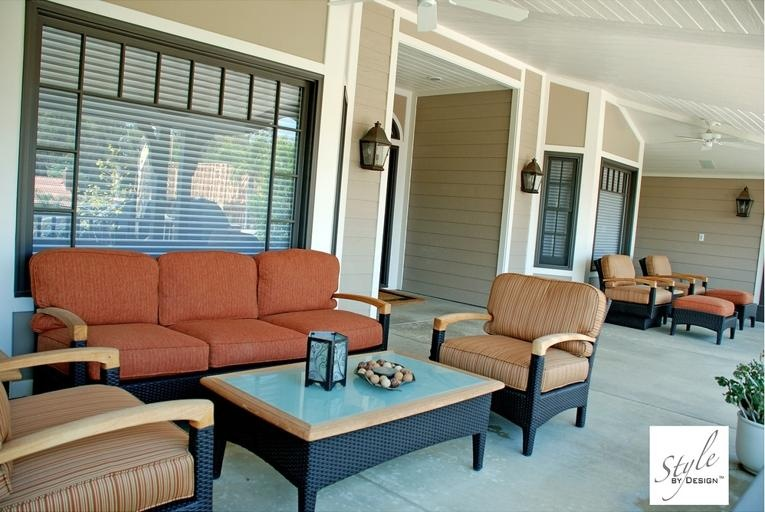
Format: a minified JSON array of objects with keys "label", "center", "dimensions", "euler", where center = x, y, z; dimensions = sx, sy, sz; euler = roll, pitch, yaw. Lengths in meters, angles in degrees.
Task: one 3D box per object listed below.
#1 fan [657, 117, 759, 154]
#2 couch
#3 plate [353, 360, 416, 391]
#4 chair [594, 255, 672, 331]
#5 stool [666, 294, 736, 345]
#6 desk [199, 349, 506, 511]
[{"label":"fan","center":[5.821,-2.070,9.086],"dimensions":[1.169,0.251,0.861],"euler":[2,9,0]},{"label":"couch","center":[-1.611,0.359,4.832],"dimensions":[2.879,0.984,2.778],"euler":[-3,11,-39]},{"label":"plate","center":[0.022,0.712,3.254],"dimensions":[0.541,0.129,0.336],"euler":[-2,5,13]},{"label":"chair","center":[3.975,0.543,8.179],"dimensions":[1.116,0.868,0.872],"euler":[13,12,42]},{"label":"stool","center":[4.596,0.930,7.479],"dimensions":[0.896,0.563,0.798],"euler":[4,1,24]},{"label":"desk","center":[-0.207,1.069,3.254],"dimensions":[1.495,0.588,0.908],"euler":[-1,11,-38]}]
